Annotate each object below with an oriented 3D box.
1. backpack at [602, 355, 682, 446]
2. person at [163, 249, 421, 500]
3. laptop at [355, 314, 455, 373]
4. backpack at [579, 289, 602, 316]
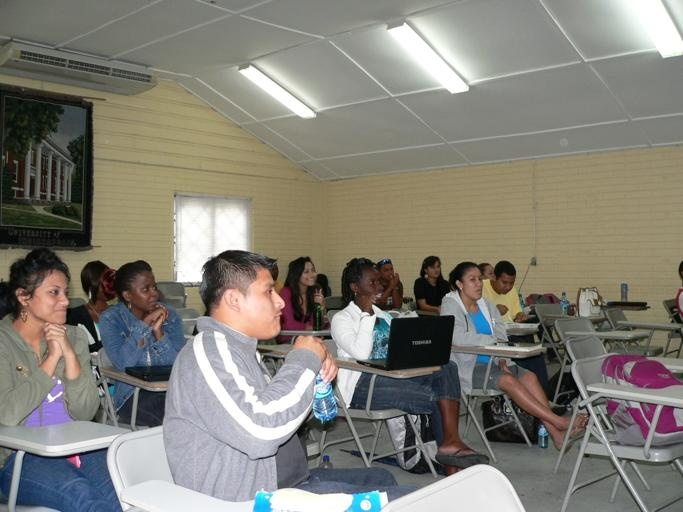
[{"bbox_3d":[1.839,0.874,2.960,0.423,0.541,0.197,0,-26,-2],"label":"backpack"},{"bbox_3d":[-0.228,0.433,1.637,0.716,0.910,0.474,1,-2,-25],"label":"person"},{"bbox_3d":[0.467,0.558,3.493,0.572,0.432,0.338,-2,14,-35],"label":"laptop"},{"bbox_3d":[3.685,0.692,7.103,0.376,0.405,0.356,-1,-1,25],"label":"backpack"}]
